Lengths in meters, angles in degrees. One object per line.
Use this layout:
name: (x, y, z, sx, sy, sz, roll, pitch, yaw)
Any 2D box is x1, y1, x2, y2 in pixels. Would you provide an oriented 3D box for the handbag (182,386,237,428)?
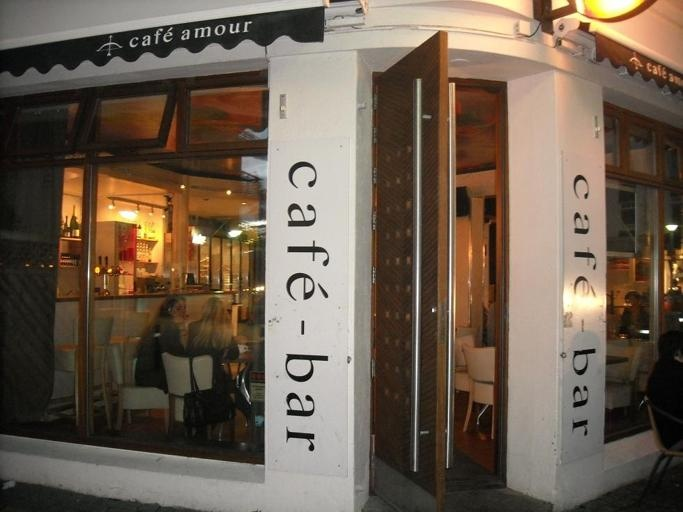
handbag: (-1.269, 1.495, 6.348, 0.370, 0.363, 0.168, -1, -4, 1)

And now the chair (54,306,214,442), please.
chair: (-1.927, 1.148, 7.029, 1.309, 1.947, 1.174, 0, -7, 5)

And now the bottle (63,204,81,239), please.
bottle: (-2.814, -0.352, 6.752, 0.221, 0.334, 0.031, -1, -4, 23)
